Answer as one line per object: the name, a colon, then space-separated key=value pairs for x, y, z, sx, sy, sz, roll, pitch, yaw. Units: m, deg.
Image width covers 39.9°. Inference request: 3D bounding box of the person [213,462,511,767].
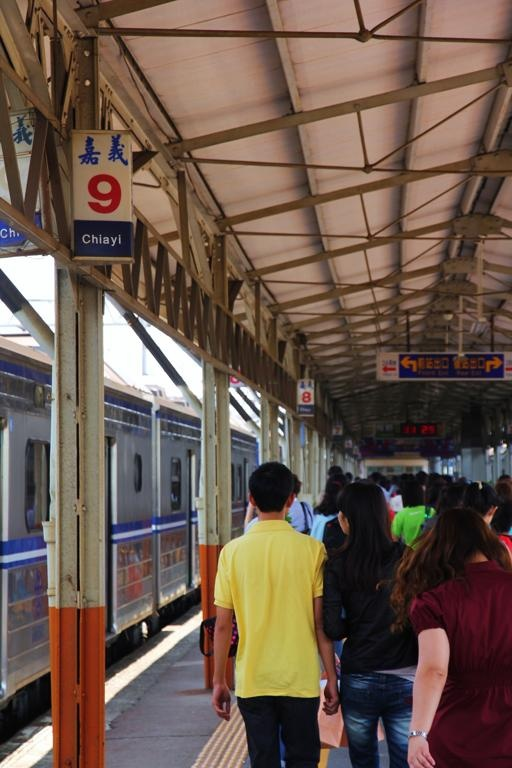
person: x=0.175 y=0.872 z=2.652 sx=0.814 sy=1.179 sz=0.424 roll=-7 pitch=-8 yaw=16
